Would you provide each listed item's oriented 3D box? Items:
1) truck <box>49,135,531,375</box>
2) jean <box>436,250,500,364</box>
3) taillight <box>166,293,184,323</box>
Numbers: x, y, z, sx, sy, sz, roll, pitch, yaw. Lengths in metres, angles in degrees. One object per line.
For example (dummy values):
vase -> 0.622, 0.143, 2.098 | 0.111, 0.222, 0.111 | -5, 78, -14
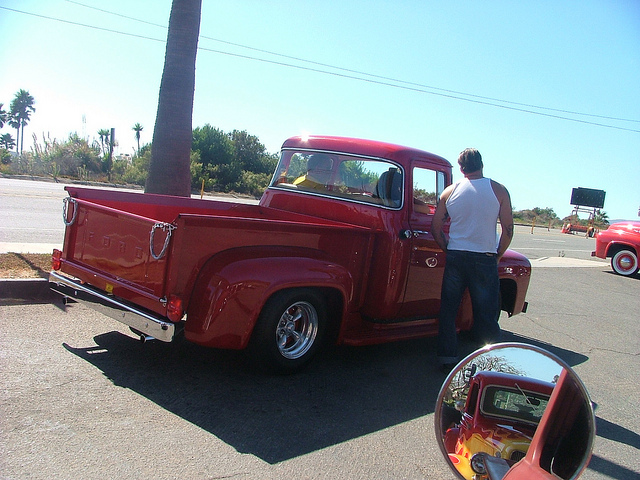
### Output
truck -> -0.530, -0.058, 4.787 | 4.170, 2.552, 2.069 | 1, 8, -33
jean -> 1.748, 0.742, 4.870 | 0.737, 1.600, 0.423 | -5, 23, 7
taillight -> -1.202, 0.555, 3.494 | 0.144, 0.229, 0.052 | 15, 7, 13
